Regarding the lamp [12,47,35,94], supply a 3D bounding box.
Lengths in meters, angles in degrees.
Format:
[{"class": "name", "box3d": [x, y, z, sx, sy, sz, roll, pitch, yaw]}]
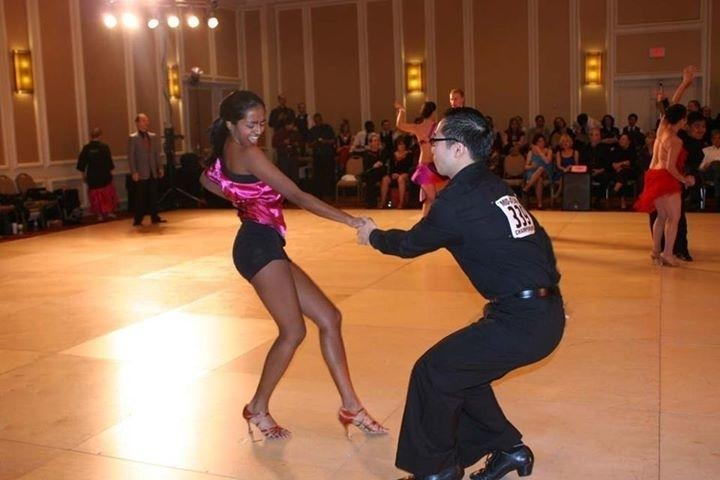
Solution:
[{"class": "lamp", "box3d": [-7.306, -3.648, 12.040, 0.170, 0.935, 0.473, 3, 12, 22]}]

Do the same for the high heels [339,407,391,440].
[{"class": "high heels", "box3d": [0.022, 1.213, 3.703, 0.421, 0.240, 0.143, -1, 0, -5]}]

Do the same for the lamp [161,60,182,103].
[{"class": "lamp", "box3d": [-5.289, -4.384, 15.438, 0.597, 1.043, 0.148, -5, -8, -9]}]

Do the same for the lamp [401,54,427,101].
[{"class": "lamp", "box3d": [1.646, -4.782, 16.723, 0.642, 0.868, 0.635, 4, -8, -38]}]

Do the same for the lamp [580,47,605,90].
[{"class": "lamp", "box3d": [6.416, -4.697, 15.378, 0.524, 0.842, 0.537, -1, 2, -8]}]

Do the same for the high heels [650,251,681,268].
[{"class": "high heels", "box3d": [4.052, 0.234, 7.429, 0.227, 0.166, 0.446, -7, 13, -25]}]

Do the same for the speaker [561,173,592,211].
[{"class": "speaker", "box3d": [4.690, -1.025, 11.994, 0.718, 1.079, 0.763, -1, 1, 13]}]
